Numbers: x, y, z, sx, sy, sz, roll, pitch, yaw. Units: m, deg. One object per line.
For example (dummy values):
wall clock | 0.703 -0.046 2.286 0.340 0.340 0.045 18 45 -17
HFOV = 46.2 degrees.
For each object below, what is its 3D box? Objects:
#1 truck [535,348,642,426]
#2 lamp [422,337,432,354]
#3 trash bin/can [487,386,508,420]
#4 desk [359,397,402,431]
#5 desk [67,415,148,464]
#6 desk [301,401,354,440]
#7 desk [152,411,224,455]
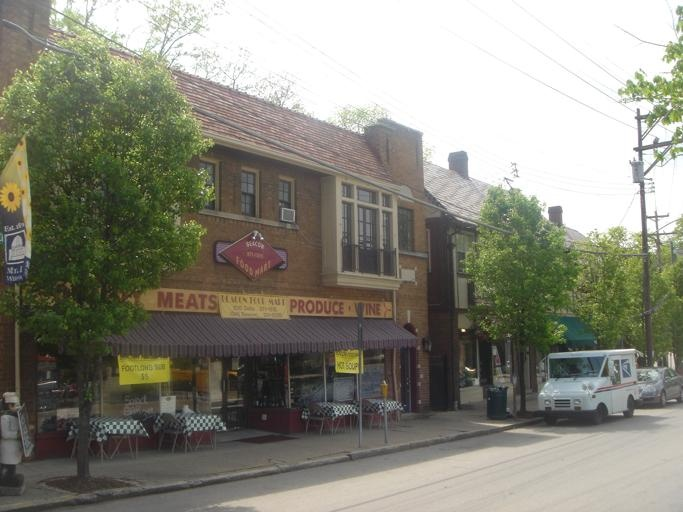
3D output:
truck | 8.694 4.563 28.013 1.989 2.131 3.748 -8 -15 33
lamp | 3.196 3.391 30.466 0.181 0.608 0.633 -1 -2 28
trash bin/can | 5.437 5.196 28.101 0.782 1.164 0.751 -3 -4 40
desk | 1.219 5.086 25.654 1.005 0.540 1.035 -4 -9 35
desk | -5.774 4.650 20.505 1.343 1.031 1.066 1 -2 -30
desk | -0.473 4.984 24.392 1.078 0.616 1.110 -4 -9 36
desk | -3.979 4.698 21.692 1.263 0.719 1.164 -4 -5 44
